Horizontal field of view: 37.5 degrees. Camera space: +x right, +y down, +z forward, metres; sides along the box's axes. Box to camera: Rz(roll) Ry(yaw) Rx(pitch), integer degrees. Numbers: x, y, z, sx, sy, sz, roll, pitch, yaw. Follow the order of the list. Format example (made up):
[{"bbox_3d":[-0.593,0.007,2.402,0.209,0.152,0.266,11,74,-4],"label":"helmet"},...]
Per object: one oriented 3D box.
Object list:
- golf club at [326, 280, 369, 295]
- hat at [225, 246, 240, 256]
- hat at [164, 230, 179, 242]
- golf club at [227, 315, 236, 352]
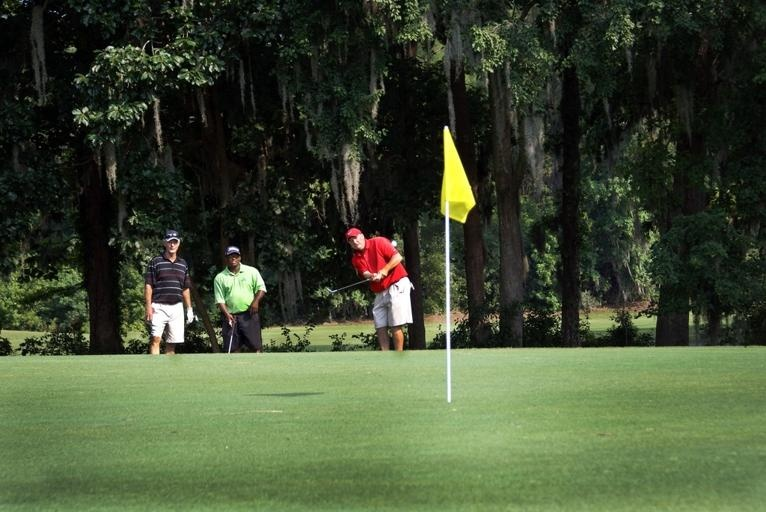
[{"bbox_3d":[-1.067,0.932,34.277,1.623,0.285,0.228,-4,-30,-37],"label":"golf club"},{"bbox_3d":[-3.345,-0.112,25.267,0.305,0.189,0.495,0,-5,-7],"label":"hat"},{"bbox_3d":[-4.629,-0.432,24.781,0.280,0.256,0.462,-2,-4,-13],"label":"hat"},{"bbox_3d":[-3.336,1.778,25.063,0.187,0.697,0.097,-2,-2,-4],"label":"golf club"}]
